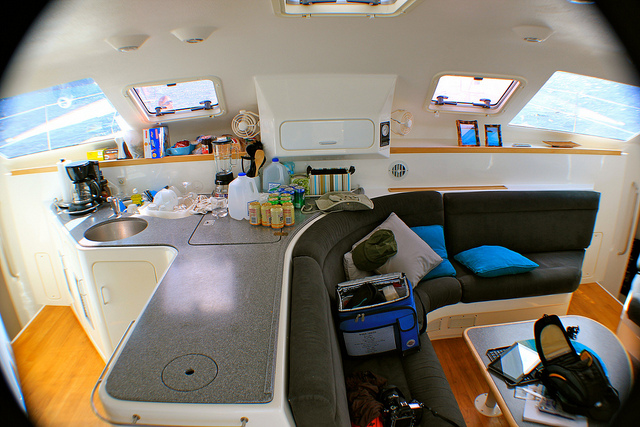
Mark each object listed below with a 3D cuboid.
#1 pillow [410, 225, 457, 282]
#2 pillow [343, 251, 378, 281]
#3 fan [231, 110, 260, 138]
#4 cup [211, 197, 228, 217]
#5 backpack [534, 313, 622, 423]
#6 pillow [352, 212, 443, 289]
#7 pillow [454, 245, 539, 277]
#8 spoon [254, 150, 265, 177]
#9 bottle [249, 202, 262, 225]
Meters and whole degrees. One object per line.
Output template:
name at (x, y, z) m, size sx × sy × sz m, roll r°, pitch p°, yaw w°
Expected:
pillow at (0.970, 0.318, 3.469) m, size 0.401 × 0.411 × 0.294 m, roll 4°, pitch 23°, yaw -12°
pillow at (0.300, 0.398, 3.129) m, size 0.211 × 0.173 × 0.137 m, roll -14°, pitch 29°, yaw -12°
fan at (-0.679, -0.820, 3.787) m, size 0.223 × 0.254 × 0.178 m, roll 17°, pitch 37°, yaw 36°
cup at (-0.797, -0.055, 3.237) m, size 0.149 × 0.161 × 0.145 m, roll -1°, pitch 11°, yaw 0°
backpack at (1.540, 0.943, 2.494) m, size 0.296 × 0.413 × 0.542 m, roll -19°, pitch 31°, yaw -20°
pillow at (0.614, 0.309, 3.363) m, size 0.549 × 0.173 × 0.578 m, roll 47°, pitch 60°, yaw 5°
pillow at (1.491, 0.393, 3.466) m, size 0.567 × 0.136 × 0.339 m, roll -9°, pitch 28°, yaw -5°
spoon at (-0.533, -0.429, 3.526) m, size 0.065 × 0.228 × 0.034 m, roll 4°, pitch 2°, yaw -4°
bottle at (-0.476, 0.004, 2.986) m, size 0.102 × 0.155 × 0.083 m, roll -13°, pitch 29°, yaw -10°
